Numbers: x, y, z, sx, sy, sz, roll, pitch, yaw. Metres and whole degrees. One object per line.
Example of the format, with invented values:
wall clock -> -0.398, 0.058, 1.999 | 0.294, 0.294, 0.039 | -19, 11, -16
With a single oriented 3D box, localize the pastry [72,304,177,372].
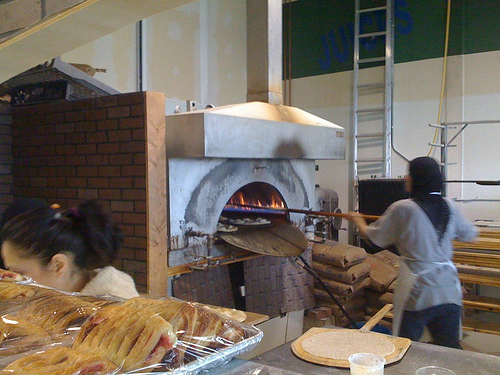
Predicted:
pastry -> -0.238, 0.281, 0.775 | 0.131, 0.047, 0.107 | 21, 47, 15

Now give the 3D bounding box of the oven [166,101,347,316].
oven -> -0.033, 0.133, 3.068 | 0.491, 1.363, 1.513 | 18, 6, 41

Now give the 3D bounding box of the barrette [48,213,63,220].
barrette -> -0.586, 0.088, 1.237 | 0.020, 0.012, 0.057 | 14, 4, 2

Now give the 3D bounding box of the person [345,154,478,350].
person -> 1.053, 0.373, 2.520 | 0.740, 1.221, 0.279 | 15, 4, 7

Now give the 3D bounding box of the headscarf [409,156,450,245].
headscarf -> 1.086, 0.069, 2.499 | 0.215, 0.494, 0.214 | 7, 11, 26

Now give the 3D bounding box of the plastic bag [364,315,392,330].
plastic bag -> 1.169, 1.227, 3.695 | 0.170, 0.057, 0.124 | 3, 3, 28

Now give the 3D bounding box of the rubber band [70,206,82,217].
rubber band -> -0.555, 0.077, 1.312 | 0.012, 0.027, 0.037 | -31, 59, -35

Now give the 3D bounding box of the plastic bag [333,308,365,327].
plastic bag -> 0.978, 1.246, 3.946 | 0.337, 0.096, 0.235 | -3, 0, -32
